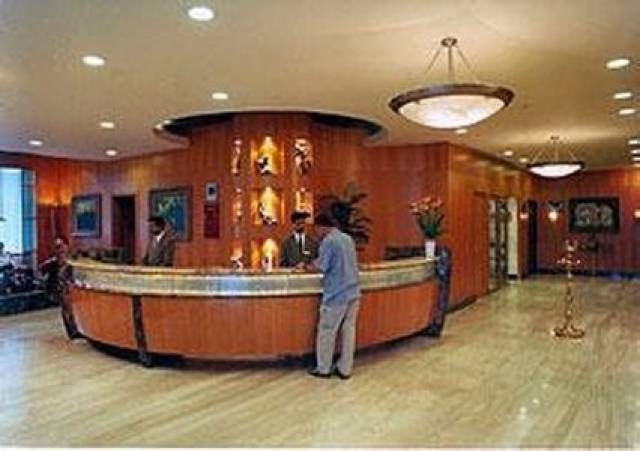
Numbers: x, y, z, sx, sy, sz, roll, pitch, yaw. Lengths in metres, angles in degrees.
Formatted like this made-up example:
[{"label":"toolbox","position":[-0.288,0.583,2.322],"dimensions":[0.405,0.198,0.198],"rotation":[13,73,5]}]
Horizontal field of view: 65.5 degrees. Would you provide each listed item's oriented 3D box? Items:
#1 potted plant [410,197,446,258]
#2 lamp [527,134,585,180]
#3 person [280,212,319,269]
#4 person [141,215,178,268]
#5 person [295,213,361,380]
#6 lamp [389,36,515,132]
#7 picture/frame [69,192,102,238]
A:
[{"label":"potted plant","position":[1.259,-0.003,5.818],"dimensions":[0.400,0.669,0.537],"rotation":[2,13,11]},{"label":"lamp","position":[3.214,-0.928,6.751],"dimensions":[0.618,0.459,0.634],"rotation":[1,-1,15]},{"label":"person","position":[-0.212,0.330,5.227],"dimensions":[0.400,0.954,0.246],"rotation":[1,9,1]},{"label":"person","position":[-1.759,0.134,5.375],"dimensions":[0.332,0.563,0.837],"rotation":[-5,13,-20]},{"label":"person","position":[0.148,0.659,4.627],"dimensions":[0.450,1.521,0.394],"rotation":[1,13,5]},{"label":"lamp","position":[1.056,-1.112,4.029],"dimensions":[0.812,0.596,0.817],"rotation":[5,-6,-29]},{"label":"picture/frame","position":[-2.832,-0.136,5.963],"dimensions":[0.048,0.667,0.555],"rotation":[-1,-2,33]}]
